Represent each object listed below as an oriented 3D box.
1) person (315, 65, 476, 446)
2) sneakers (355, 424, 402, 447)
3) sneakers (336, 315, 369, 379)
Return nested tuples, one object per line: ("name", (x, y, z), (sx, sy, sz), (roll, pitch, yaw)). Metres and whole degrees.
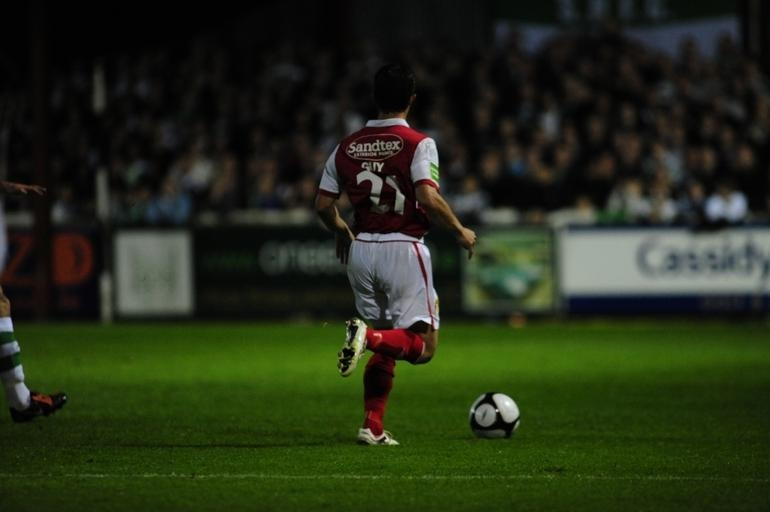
("person", (0.074, -0.380, 10.443), (1.322, 2.723, 0.752), (0, 6, 5))
("sneakers", (-0.082, 1.674, 10.530), (0.443, 0.175, 0.161), (2, -2, -17))
("sneakers", (-0.289, 0.795, 10.139), (0.253, 0.563, 0.204), (22, -12, -32))
